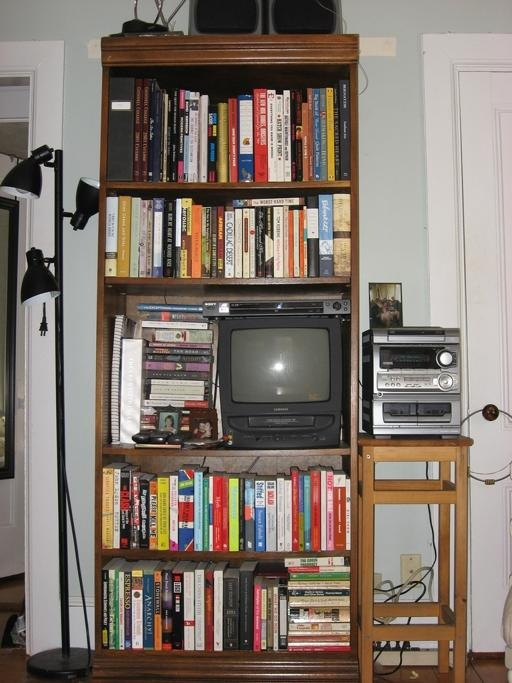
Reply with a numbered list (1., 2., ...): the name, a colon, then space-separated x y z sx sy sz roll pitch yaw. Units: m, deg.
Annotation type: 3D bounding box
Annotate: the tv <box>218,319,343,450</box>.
1. tv: 0.079 0.111 2.791 0.474 0.555 0.368 -1 -6 3
